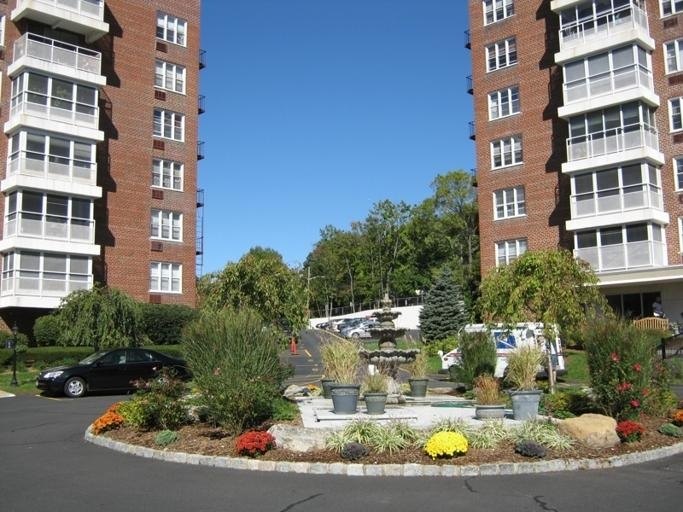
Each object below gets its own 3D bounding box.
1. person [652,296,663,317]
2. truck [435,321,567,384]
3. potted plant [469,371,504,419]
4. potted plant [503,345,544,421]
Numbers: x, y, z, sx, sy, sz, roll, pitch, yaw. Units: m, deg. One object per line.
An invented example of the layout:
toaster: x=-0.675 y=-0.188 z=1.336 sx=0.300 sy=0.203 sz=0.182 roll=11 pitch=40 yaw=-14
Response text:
person: x=17.742 y=2.852 z=33.815 sx=0.380 sy=1.206 sz=0.489 roll=3 pitch=2 yaw=25
truck: x=6.136 y=3.508 z=24.190 sx=4.588 sy=2.297 sz=3.112 roll=-4 pitch=-10 yaw=27
potted plant: x=4.015 y=3.755 z=15.911 sx=0.819 sy=1.174 sz=0.849 roll=-4 pitch=-17 yaw=44
potted plant: x=5.069 y=3.391 z=16.557 sx=0.995 sy=1.778 sz=3.589 roll=-6 pitch=-9 yaw=15
